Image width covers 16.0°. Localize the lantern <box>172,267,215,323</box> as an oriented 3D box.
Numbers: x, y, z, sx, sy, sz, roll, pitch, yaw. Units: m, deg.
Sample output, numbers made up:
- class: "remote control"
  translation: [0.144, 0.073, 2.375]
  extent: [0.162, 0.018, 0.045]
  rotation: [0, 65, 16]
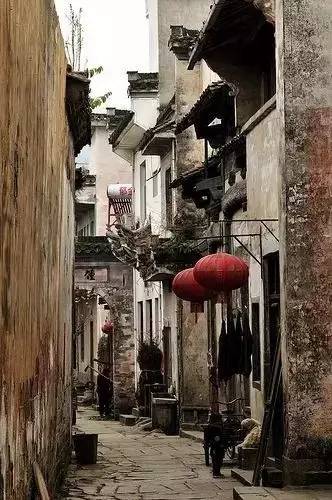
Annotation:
- class: "lantern"
  translation: [0.402, 0.667, 16.630]
  extent: [0.414, 0.910, 0.560]
  rotation: [-1, -6, -2]
